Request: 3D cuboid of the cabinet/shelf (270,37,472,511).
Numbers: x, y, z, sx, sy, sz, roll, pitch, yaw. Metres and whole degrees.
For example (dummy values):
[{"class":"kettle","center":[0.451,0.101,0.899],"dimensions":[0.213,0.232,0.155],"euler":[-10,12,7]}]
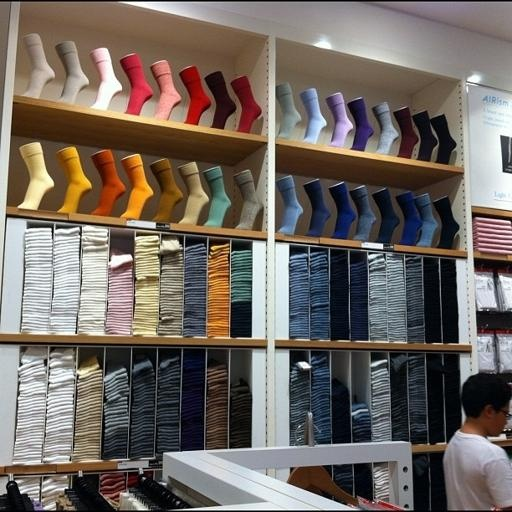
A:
[{"class":"cabinet/shelf","center":[0.596,0.084,3.193],"dimensions":[1.269,2.492,0.530],"euler":[4,-13,-23]}]
